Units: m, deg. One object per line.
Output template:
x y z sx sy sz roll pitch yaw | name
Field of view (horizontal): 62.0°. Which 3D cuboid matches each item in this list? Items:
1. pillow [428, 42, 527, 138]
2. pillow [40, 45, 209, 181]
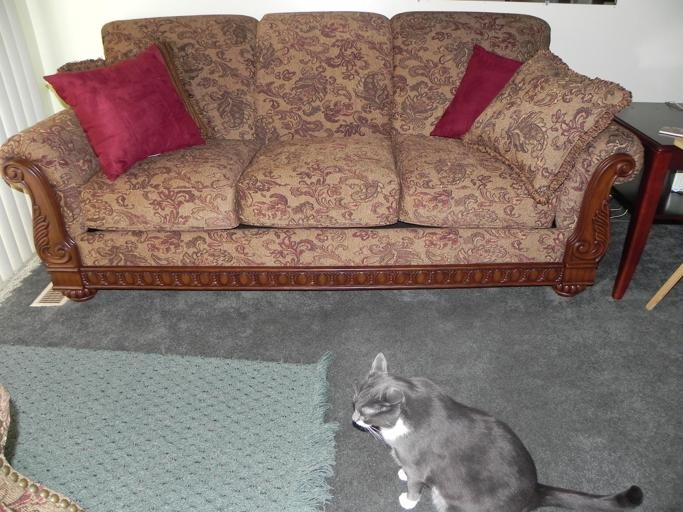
0.664 -0.824 2.881 0.112 0.504 0.367 20 17 -49 | pillow
-0.994 -0.689 2.638 0.768 0.658 0.229 -32 4 -41 | pillow
